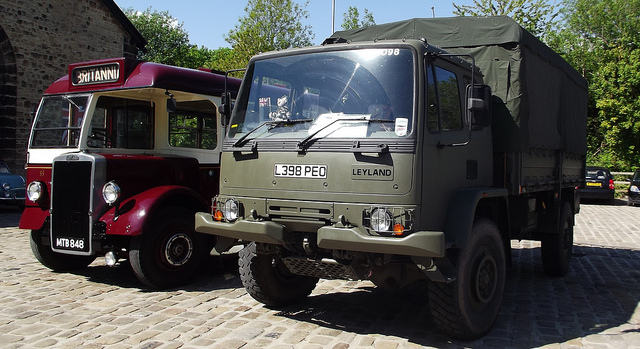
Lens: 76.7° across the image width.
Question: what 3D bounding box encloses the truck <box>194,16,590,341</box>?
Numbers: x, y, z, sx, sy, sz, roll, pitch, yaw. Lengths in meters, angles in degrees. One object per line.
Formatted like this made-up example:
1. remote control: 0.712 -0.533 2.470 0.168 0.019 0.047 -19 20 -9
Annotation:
1. truck: 2.540 0.039 10.002 4.518 5.173 8.974 -3 -5 36

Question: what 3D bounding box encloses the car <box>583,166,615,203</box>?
1. car: 19.265 0.237 28.322 2.437 2.008 4.570 4 14 35

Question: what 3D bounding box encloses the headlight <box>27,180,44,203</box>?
1. headlight: -6.806 0.364 9.633 0.460 0.471 0.190 5 8 28

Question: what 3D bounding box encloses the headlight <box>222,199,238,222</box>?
1. headlight: -1.644 0.640 7.418 0.274 0.366 0.136 2 -4 25

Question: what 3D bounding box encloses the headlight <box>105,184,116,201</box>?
1. headlight: -4.617 0.377 9.025 0.303 0.305 0.120 -9 6 15
